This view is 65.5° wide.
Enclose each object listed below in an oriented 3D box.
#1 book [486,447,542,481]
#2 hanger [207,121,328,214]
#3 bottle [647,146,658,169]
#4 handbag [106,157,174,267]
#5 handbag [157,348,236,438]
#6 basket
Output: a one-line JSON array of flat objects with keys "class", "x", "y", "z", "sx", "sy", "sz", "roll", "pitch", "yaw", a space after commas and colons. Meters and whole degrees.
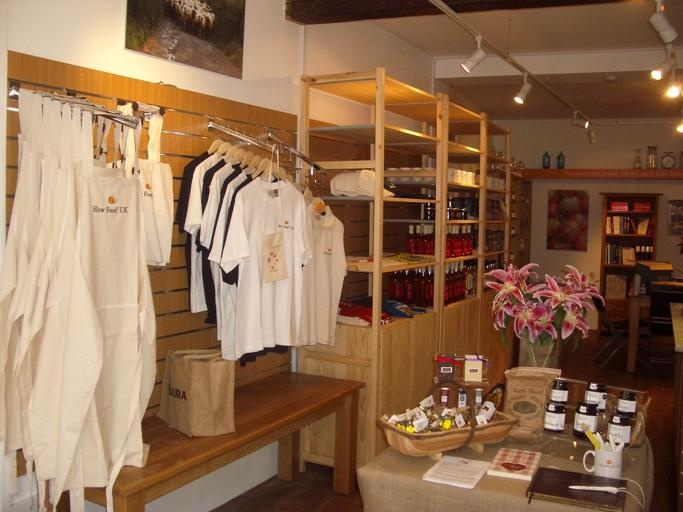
[{"class": "book", "x": 0.831, "y": 0.998, "z": 2.535, "sx": 0.194, "sy": 0.025, "sz": 0.279, "roll": -2, "pitch": 1, "yaw": 29}, {"class": "hanger", "x": -0.499, "y": -0.643, "z": 3.977, "sx": 0.460, "sy": 0.695, "sz": 1.185, "roll": -1, "pitch": 4, "yaw": 26}, {"class": "bottle", "x": 5.614, "y": -1.783, "z": 9.614, "sx": 0.150, "sy": 0.423, "sz": 0.271, "roll": -1, "pitch": 4, "yaw": 26}, {"class": "handbag", "x": -1.095, "y": -0.252, "z": 3.117, "sx": 0.139, "sy": 0.622, "sz": 0.339, "roll": -3, "pitch": 3, "yaw": 2}, {"class": "handbag", "x": -0.850, "y": 0.814, "z": 3.169, "sx": 0.337, "sy": 0.461, "sz": 0.441, "roll": -5, "pitch": 4, "yaw": -37}, {"class": "basket", "x": 0.556, "y": 0.772, "z": 2.755, "sx": 0.713, "sy": 0.370, "sz": 0.367, "roll": -2, "pitch": 2, "yaw": -37}]
